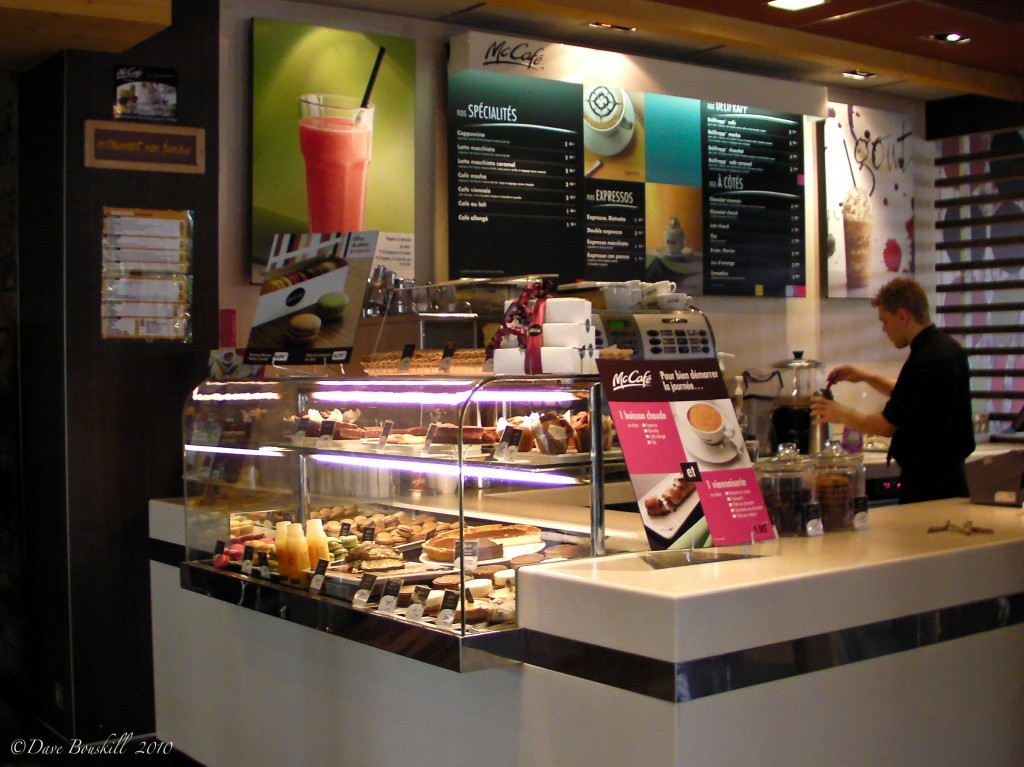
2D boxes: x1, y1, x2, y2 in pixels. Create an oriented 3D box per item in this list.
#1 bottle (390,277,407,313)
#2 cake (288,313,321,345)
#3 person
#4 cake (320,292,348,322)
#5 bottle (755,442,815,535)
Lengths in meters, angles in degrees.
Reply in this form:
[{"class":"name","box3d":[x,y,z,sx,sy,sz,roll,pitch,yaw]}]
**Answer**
[{"class":"bottle","box3d":[-0.473,-0.364,3.417,0.094,0.141,0.365,2,11,-9]},{"class":"cake","box3d":[-0.724,-0.194,2.827,0.150,0.102,0.042,11,13,34]},{"class":"person","box3d":[1.724,0.032,3.476,0.521,0.889,0.873,10,13,30]},{"class":"cake","box3d":[-0.619,-0.263,2.798,0.115,0.094,0.037,11,13,35]},{"class":"bottle","box3d":[0.827,0.296,2.282,0.195,0.213,0.196,-3,-2,36]}]
